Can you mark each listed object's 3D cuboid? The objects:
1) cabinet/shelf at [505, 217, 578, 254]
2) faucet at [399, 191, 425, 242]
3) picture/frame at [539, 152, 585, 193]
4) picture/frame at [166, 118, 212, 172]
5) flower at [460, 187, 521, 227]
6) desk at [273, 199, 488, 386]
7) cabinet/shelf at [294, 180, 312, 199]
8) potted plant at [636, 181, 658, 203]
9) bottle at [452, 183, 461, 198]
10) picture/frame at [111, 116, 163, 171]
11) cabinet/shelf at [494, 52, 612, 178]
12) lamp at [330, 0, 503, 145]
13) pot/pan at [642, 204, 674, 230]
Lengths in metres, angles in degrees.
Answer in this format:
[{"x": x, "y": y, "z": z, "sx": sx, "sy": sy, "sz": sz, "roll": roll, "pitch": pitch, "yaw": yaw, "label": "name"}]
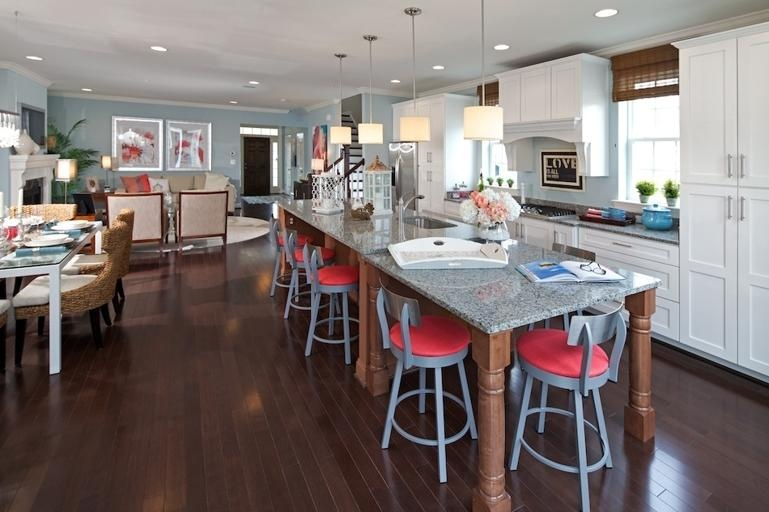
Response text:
[{"x": 2.061, "y": -0.258, "z": 6.463, "sx": 0.304, "sy": 0.545, "sz": 0.912, "roll": -21, "pitch": 27, "yaw": -38, "label": "cabinet/shelf"}, {"x": 0.251, "y": -0.339, "z": 4.847, "sx": 0.249, "sy": 0.559, "sz": 0.126, "roll": -2, "pitch": -31, "yaw": 6, "label": "faucet"}, {"x": 2.502, "y": -1.175, "z": 6.960, "sx": 0.040, "sy": 0.493, "sz": 0.573, "roll": -5, "pitch": 9, "yaw": -27, "label": "picture/frame"}, {"x": -4.996, "y": -2.831, "z": 12.600, "sx": 1.339, "sy": 1.571, "sz": 0.118, "roll": -1, "pitch": 6, "yaw": -36, "label": "picture/frame"}, {"x": 0.955, "y": -0.416, "z": 4.440, "sx": 0.407, "sy": 0.367, "sz": 0.378, "roll": -11, "pitch": 14, "yaw": -40, "label": "flower"}, {"x": -0.132, "y": 0.079, "z": 4.991, "sx": 1.559, "sy": 1.440, "sz": 2.875, "roll": -2, "pitch": 14, "yaw": -24, "label": "desk"}, {"x": -2.052, "y": -1.665, "z": 12.572, "sx": 0.265, "sy": 0.491, "sz": 1.943, "roll": -3, "pitch": 11, "yaw": -14, "label": "cabinet/shelf"}, {"x": 3.203, "y": -0.775, "z": 6.103, "sx": 0.234, "sy": 0.273, "sz": 0.151, "roll": 3, "pitch": 10, "yaw": 17, "label": "potted plant"}, {"x": 1.220, "y": -1.109, "z": 8.422, "sx": 0.103, "sy": 0.214, "sz": 0.265, "roll": 1, "pitch": 10, "yaw": 7, "label": "bottle"}, {"x": -6.031, "y": -2.757, "z": 12.050, "sx": 1.374, "sy": 1.615, "sz": 0.065, "roll": -2, "pitch": 4, "yaw": -31, "label": "picture/frame"}, {"x": 2.248, "y": -1.828, "z": 6.856, "sx": 0.611, "sy": 1.520, "sz": 1.574, "roll": -13, "pitch": 16, "yaw": -29, "label": "cabinet/shelf"}, {"x": 0.500, "y": -2.529, "z": 6.856, "sx": 0.409, "sy": 1.378, "sz": 2.014, "roll": 0, "pitch": 2, "yaw": -30, "label": "lamp"}, {"x": 3.050, "y": -0.423, "z": 5.552, "sx": 0.307, "sy": 0.259, "sz": 0.281, "roll": -8, "pitch": 13, "yaw": -39, "label": "pot/pan"}]
